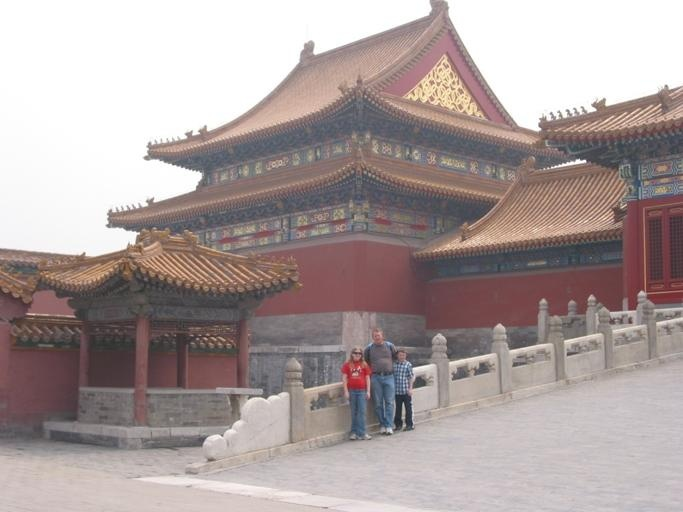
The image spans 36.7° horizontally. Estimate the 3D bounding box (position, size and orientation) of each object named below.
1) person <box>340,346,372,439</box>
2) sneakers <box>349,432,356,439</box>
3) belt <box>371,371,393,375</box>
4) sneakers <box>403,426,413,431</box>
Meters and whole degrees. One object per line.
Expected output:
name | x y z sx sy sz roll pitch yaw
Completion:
person | 0.308 2.560 19.227 0.512 1.719 0.597 -4 11 1
sneakers | 0.221 3.364 19.265 0.088 0.095 0.143 3 -30 -13
belt | 0.770 2.188 19.361 0.395 0.098 0.056 -4 11 -4
sneakers | 1.275 3.241 19.430 0.199 0.092 0.085 0 11 20
